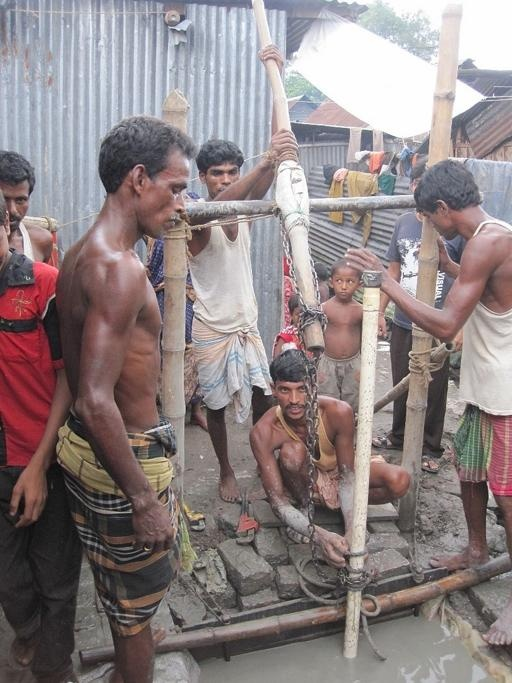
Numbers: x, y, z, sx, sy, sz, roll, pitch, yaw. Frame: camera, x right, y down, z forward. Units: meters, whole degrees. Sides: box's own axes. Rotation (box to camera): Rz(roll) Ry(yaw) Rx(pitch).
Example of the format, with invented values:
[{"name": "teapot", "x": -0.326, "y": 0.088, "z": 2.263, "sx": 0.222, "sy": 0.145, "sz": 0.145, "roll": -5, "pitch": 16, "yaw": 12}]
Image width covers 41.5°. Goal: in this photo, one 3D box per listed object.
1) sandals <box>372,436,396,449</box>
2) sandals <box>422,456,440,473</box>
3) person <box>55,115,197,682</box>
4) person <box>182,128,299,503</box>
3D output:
[{"name": "sandals", "x": 0.945, "y": 0.751, "z": 5.059, "sx": 0.167, "sy": 0.064, "sz": 0.078, "roll": 5, "pitch": -2, "yaw": -2}, {"name": "sandals", "x": 1.228, "y": 0.869, "z": 4.810, "sx": 0.090, "sy": 0.042, "sz": 0.134, "roll": 0, "pitch": 11, "yaw": 7}, {"name": "person", "x": -0.429, "y": 0.308, "z": 2.169, "sx": 0.458, "sy": 2.012, "sz": 0.537, "roll": -1, "pitch": 15, "yaw": -2}, {"name": "person", "x": -0.016, "y": -0.157, "z": 4.116, "sx": 0.826, "sy": 2.154, "sz": 0.587, "roll": -6, "pitch": 8, "yaw": -2}]
